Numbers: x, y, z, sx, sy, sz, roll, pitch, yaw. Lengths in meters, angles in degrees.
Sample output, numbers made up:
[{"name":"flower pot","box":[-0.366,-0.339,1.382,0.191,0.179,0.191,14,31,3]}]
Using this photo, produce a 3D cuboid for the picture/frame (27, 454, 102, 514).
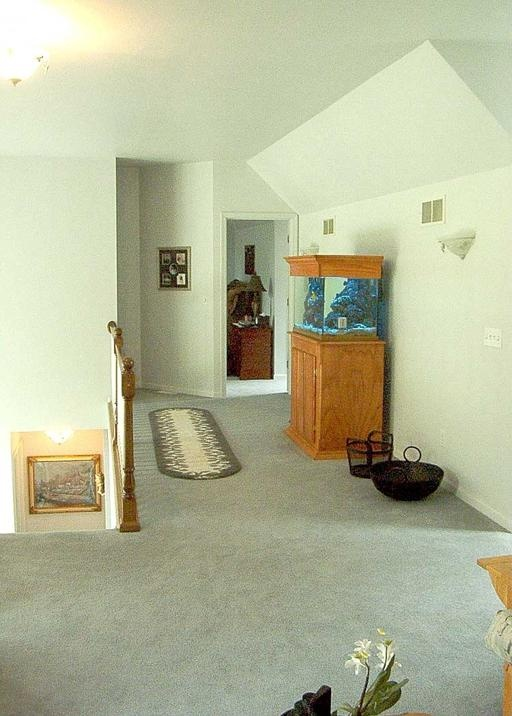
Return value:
[{"name":"picture/frame","box":[-3.079,2.003,8.848,1.056,0.835,0.110,-1,-4,-11]}]

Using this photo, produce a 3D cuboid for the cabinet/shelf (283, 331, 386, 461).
[{"name":"cabinet/shelf","box":[0.883,0.091,5.555,0.970,1.417,1.554,-1,7,-10]}]

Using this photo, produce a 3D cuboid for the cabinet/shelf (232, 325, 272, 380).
[{"name":"cabinet/shelf","box":[-0.195,-0.114,9.523,0.568,0.838,1.031,-4,6,-23]}]

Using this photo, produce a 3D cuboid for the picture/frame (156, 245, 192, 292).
[{"name":"picture/frame","box":[-1.129,-1.271,7.758,0.635,0.689,0.047,8,12,35]}]

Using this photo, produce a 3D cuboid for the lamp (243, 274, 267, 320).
[{"name":"lamp","box":[-0.008,-1.026,9.380,0.458,0.709,0.456,-5,9,-44]}]
